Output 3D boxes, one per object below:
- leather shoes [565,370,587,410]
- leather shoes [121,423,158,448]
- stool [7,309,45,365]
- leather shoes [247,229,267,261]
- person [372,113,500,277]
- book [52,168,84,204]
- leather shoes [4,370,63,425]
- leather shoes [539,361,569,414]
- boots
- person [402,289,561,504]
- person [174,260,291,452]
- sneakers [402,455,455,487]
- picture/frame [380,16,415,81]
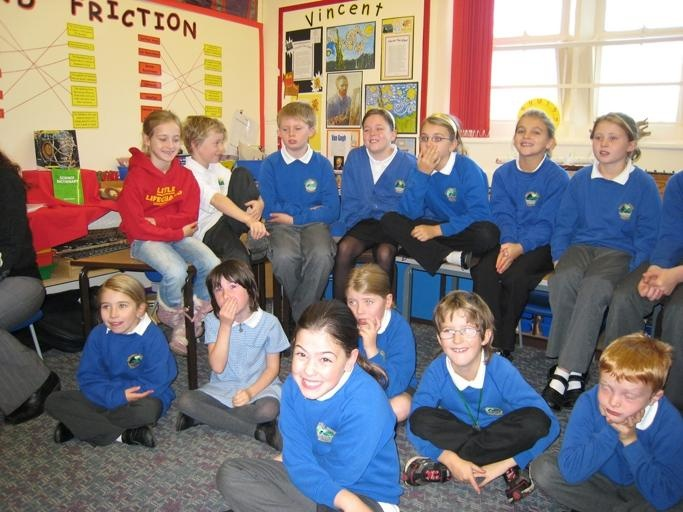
[{"bbox_3d":[1.174,0.641,2.676,0.108,0.130,0.336,1,6,27],"label":"leather shoes"},{"bbox_3d":[-0.936,0.810,2.425,0.150,0.080,0.129,-9,18,-22],"label":"leather shoes"},{"bbox_3d":[-1.743,0.460,2.923,0.196,0.271,0.199,-6,7,-20],"label":"stool"},{"bbox_3d":[-0.512,-0.068,3.198,0.163,0.174,0.120,-7,21,-24],"label":"leather shoes"},{"bbox_3d":[0.632,-0.424,3.223,0.628,0.859,0.719,-14,16,-31],"label":"person"},{"bbox_3d":[-1.943,-0.484,3.750,0.218,0.302,0.071,1,29,-33],"label":"book"},{"bbox_3d":[-1.470,0.680,2.677,0.129,0.171,0.396,10,16,6],"label":"leather shoes"},{"bbox_3d":[1.102,0.664,2.739,0.104,0.123,0.326,17,7,25],"label":"leather shoes"},{"bbox_3d":[-0.872,0.372,3.074,0.181,0.388,0.542,-1,2,-12],"label":"boots"},{"bbox_3d":[0.543,0.517,2.183,0.530,0.710,0.572,2,-7,-38],"label":"person"},{"bbox_3d":[-0.498,0.442,2.458,0.500,0.808,0.502,-3,0,-6],"label":"person"},{"bbox_3d":[0.338,0.875,2.160,0.167,0.100,0.061,0,2,-4],"label":"sneakers"},{"bbox_3d":[0.483,-1.808,4.674,0.331,0.508,0.066,9,20,33],"label":"picture/frame"}]
